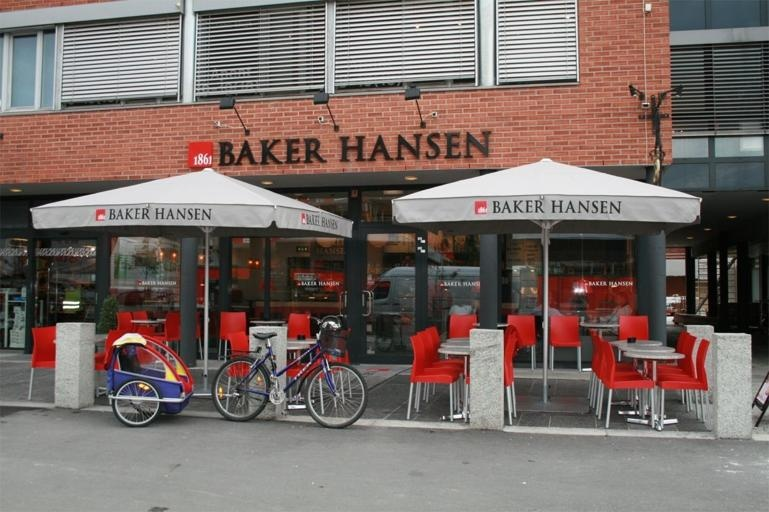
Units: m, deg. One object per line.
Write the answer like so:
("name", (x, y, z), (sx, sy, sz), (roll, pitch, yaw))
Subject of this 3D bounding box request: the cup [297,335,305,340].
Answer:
("cup", (-1.588, 1.571, 17.157), (0.130, 0.088, 0.070), (1, 1, 3))

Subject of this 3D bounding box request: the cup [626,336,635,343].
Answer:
("cup", (4.689, 1.607, 17.039), (0.114, 0.096, 0.174), (-3, -1, 7))

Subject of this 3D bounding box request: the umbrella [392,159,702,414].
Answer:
("umbrella", (2.966, 0.533, 18.376), (5.407, 4.596, 5.574), (0, -3, 2))

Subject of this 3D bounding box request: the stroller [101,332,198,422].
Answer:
("stroller", (-4.183, 2.204, 16.485), (1.594, 1.598, 1.232), (1, -1, -2))

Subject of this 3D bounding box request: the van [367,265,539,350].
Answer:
("van", (1.440, 1.287, 21.993), (3.246, 1.982, 1.787), (0, -2, 5))
